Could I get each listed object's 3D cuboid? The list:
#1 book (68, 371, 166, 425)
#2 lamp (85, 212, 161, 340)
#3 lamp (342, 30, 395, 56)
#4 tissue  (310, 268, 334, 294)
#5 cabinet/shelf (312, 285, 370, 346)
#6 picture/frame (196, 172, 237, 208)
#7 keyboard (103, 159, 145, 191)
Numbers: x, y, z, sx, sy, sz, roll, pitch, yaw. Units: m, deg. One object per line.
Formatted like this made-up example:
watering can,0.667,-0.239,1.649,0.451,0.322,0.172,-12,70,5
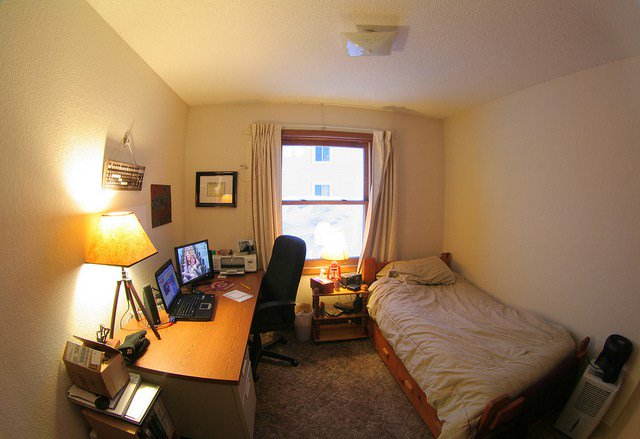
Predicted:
book,-1.514,1.324,3.176,0.396,0.092,0.390,16,8,0
lamp,-1.533,0.451,3.408,0.529,0.997,0.334,-1,7,-13
lamp,0.396,-1.441,3.558,0.412,0.131,0.235,1,6,7
tissue ,0.020,0.613,4.593,0.179,0.286,0.325,-2,4,-19
cabinet/shelf,0.189,1.010,4.734,0.669,0.626,0.534,-1,3,-6
picture/frame,-1.108,-0.324,4.577,0.367,0.335,0.026,1,5,-2
keyboard,-1.626,-0.350,3.589,0.042,0.233,0.372,11,6,23
